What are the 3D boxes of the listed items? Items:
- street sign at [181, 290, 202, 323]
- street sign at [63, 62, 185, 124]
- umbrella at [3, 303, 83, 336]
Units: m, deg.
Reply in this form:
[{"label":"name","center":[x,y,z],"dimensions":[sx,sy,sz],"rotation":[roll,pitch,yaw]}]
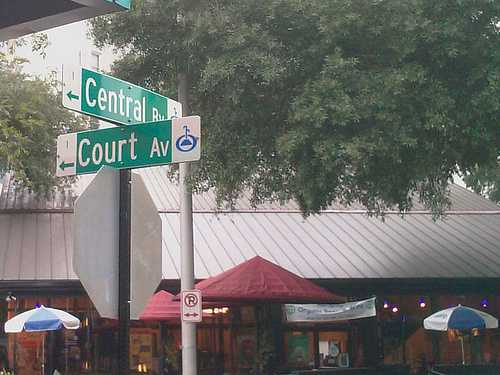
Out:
[{"label":"street sign","center":[-1.560,3.122,22.202],"dimensions":[0.702,1.234,0.115],"rotation":[0,-8,-11]},{"label":"street sign","center":[-2.437,-1.609,16.345],"dimensions":[2.541,1.039,0.286],"rotation":[14,-32,-30]},{"label":"umbrella","center":[-6.274,4.043,25.412],"dimensions":[1.510,1.242,2.028],"rotation":[-2,-8,34]}]
